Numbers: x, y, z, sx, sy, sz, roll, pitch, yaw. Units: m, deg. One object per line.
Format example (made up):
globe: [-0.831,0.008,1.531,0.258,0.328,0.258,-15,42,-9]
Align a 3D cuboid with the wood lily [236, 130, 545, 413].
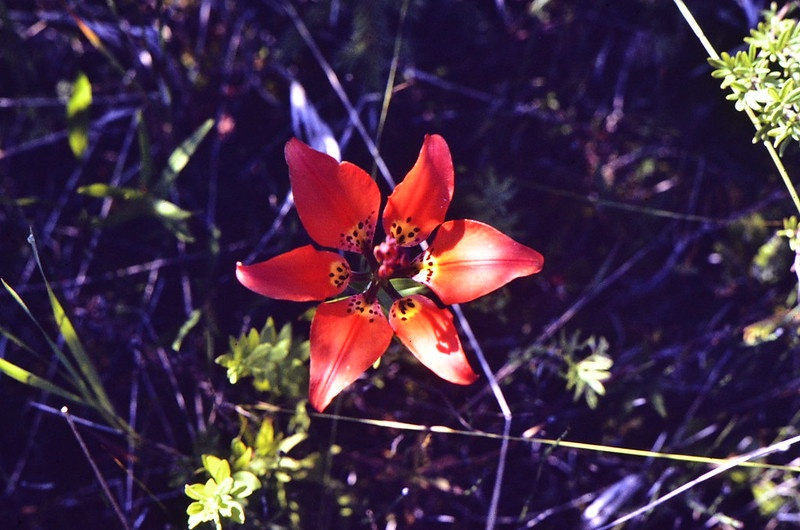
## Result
wood lily: [-0.028,0.002,1.050,0.414,0.278,0.406,-6,71,-12]
